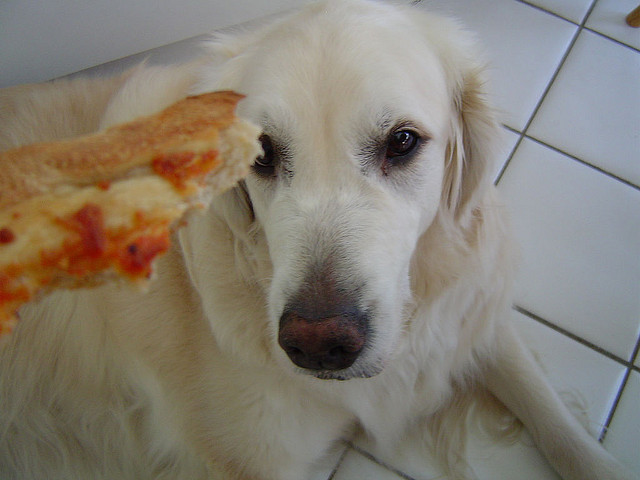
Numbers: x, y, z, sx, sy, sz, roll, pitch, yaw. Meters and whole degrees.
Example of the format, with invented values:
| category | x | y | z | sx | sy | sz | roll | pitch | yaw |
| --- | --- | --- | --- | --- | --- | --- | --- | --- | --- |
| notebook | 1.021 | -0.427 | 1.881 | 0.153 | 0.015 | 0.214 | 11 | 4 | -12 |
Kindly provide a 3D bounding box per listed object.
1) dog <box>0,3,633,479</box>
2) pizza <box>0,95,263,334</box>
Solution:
| category | x | y | z | sx | sy | sz | roll | pitch | yaw |
| --- | --- | --- | --- | --- | --- | --- | --- | --- | --- |
| dog | -0.189 | -0.013 | 1.583 | 0.847 | 0.728 | 1.454 | -22 | 30 | -35 |
| pizza | -0.416 | -0.108 | 1.422 | 0.574 | 0.296 | 0.371 | -12 | 63 | -18 |
